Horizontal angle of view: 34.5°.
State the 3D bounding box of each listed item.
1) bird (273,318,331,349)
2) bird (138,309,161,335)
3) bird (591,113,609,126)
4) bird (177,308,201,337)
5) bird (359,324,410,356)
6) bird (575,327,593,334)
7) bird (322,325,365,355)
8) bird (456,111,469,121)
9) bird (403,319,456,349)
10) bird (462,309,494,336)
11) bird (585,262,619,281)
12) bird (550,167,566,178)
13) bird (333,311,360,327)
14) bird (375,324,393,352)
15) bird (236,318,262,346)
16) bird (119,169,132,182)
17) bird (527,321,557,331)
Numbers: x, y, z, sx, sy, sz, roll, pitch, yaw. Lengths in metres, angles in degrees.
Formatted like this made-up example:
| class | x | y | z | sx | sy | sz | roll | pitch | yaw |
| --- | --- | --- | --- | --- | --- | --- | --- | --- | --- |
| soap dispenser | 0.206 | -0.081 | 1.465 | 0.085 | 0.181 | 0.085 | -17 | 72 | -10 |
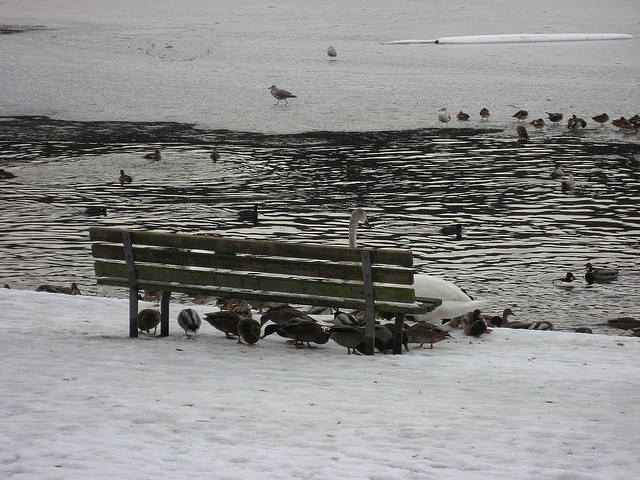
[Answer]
| class | x | y | z | sx | sy | sz | roll | pitch | yaw |
| --- | --- | --- | --- | --- | --- | --- | --- | --- | --- |
| bird | -0.244 | 1.516 | 16.631 | 0.908 | 0.480 | 0.385 | 0 | 1 | 17 |
| bird | -2.874 | 1.346 | 17.318 | 0.390 | 0.251 | 0.524 | 6 | 20 | 11 |
| bird | 12.466 | -5.337 | 46.090 | 0.656 | 0.534 | 1.130 | 0 | 1 | 12 |
| bird | -2.195 | 1.388 | 17.310 | 0.352 | 0.446 | 0.320 | 0 | 2 | -7 |
| bird | 0.977 | 1.589 | 16.534 | 0.460 | 0.464 | 0.268 | -1 | 2 | -38 |
| bird | 4.754 | 1.634 | 18.663 | 0.218 | 0.049 | 0.232 | 3 | -2 | 25 |
| bird | 0.531 | 1.607 | 16.461 | 1.043 | 0.381 | 0.399 | 9 | -16 | 2 |
| bird | 6.487 | -5.604 | 46.934 | 0.518 | 0.368 | 0.824 | 0 | 1 | 6 |
| bird | 1.706 | 1.538 | 17.008 | 1.028 | 0.336 | 0.353 | 3 | -14 | -26 |
| bird | 2.604 | 1.426 | 17.784 | 0.494 | 0.415 | 0.409 | 1 | -15 | -15 |
| bird | 6.149 | 0.745 | 22.743 | 0.877 | 0.315 | 0.342 | 1 | -3 | 0 |
| bird | 7.821 | -2.135 | 33.818 | 0.593 | 0.176 | 0.415 | 3 | 36 | 16 |
| bird | 0.377 | 1.331 | 17.261 | 0.285 | 0.232 | 0.304 | 19 | 32 | 37 |
| bird | 1.006 | 1.579 | 16.515 | 0.280 | 0.429 | 0.157 | 0 | 2 | -2 |
| bird | -1.161 | 1.486 | 16.774 | 0.356 | 0.420 | 0.153 | 0 | 2 | 12 |
| bird | -6.278 | -2.028 | 33.394 | 0.401 | 0.352 | 0.422 | 0 | 1 | -7 |
| bird | 4.061 | 1.560 | 18.757 | 0.326 | 0.087 | 0.388 | 0 | -1 | 37 |
